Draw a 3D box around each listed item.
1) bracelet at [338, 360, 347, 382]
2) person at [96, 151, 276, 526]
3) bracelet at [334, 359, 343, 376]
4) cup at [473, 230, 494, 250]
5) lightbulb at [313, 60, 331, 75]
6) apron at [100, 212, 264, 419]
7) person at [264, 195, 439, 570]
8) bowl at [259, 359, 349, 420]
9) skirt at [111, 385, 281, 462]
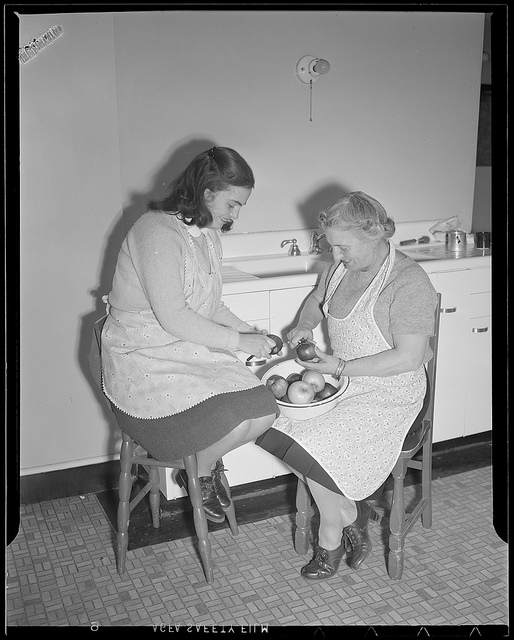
[{"bbox_3d":[0.240,0.145,1.691,0.011,0.044,0.045,28,18,19],"label":"bracelet"},{"bbox_3d":[-0.200,0.076,1.659,0.478,1.033,0.378,-4,9,-15],"label":"person"},{"bbox_3d":[0.229,0.133,1.668,0.008,0.032,0.030,21,-27,0],"label":"bracelet"},{"bbox_3d":[1.033,-0.361,2.732,0.068,0.075,0.065,-2,8,0],"label":"cup"},{"bbox_3d":[0.285,-1.082,2.551,0.040,0.059,0.098,6,11,41],"label":"lightbulb"},{"bbox_3d":[-0.208,0.059,1.679,0.352,0.633,0.350,-9,26,-34],"label":"apron"},{"bbox_3d":[0.305,0.174,1.936,0.544,1.092,0.803,-1,8,2],"label":"person"},{"bbox_3d":[0.138,0.201,1.717,0.183,0.067,0.184,-1,11,0],"label":"bowl"},{"bbox_3d":[-0.187,0.283,1.643,0.474,0.200,0.178,1,9,16],"label":"skirt"}]
